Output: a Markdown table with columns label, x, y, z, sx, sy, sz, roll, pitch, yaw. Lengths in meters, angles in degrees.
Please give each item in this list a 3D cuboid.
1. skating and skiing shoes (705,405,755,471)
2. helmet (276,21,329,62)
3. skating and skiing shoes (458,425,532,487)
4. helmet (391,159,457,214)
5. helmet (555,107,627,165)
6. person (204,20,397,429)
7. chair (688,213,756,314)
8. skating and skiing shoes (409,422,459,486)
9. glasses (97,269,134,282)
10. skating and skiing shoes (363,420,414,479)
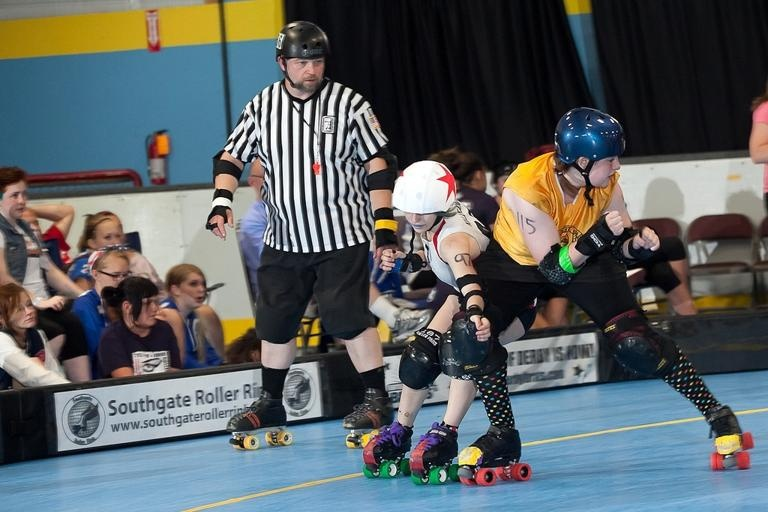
| label | x | y | z | sx | sy | sz | roll | pitch | yaw |
| --- | --- | --- | --- | --- | --- | --- | --- | --- | --- |
| skating and skiing shoes | 1.776 | 0.944 | 4.372 | 0.180 | 0.224 | 0.348 | -15 | 12 | 22 |
| helmet | -0.537 | -1.326 | 5.337 | 0.298 | 0.319 | 0.394 | -9 | 22 | -28 |
| skating and skiing shoes | 0.565 | 1.055 | 4.478 | 0.377 | 0.285 | 0.257 | 0 | -3 | -27 |
| helmet | 0.218 | -0.379 | 4.625 | 0.246 | 0.289 | 0.332 | -1 | -6 | 12 |
| helmet | 1.121 | -0.618 | 4.522 | 0.297 | 0.306 | 0.366 | -21 | 22 | -34 |
| person | -0.524 | -0.160 | 5.415 | 1.127 | 2.655 | 0.792 | -2 | 6 | -2 |
| chair | 3.275 | 0.068 | 8.176 | 0.802 | 1.116 | 0.793 | -1 | 3 | 13 |
| skating and skiing shoes | 0.287 | 1.040 | 4.548 | 0.165 | 0.297 | 0.456 | -3 | -1 | 36 |
| glasses | -2.000 | 0.132 | 6.173 | 0.234 | 0.094 | 0.160 | -12 | 11 | -25 |
| skating and skiing shoes | 0.034 | 1.055 | 4.693 | 0.156 | 0.273 | 0.428 | -2 | -2 | 38 |
